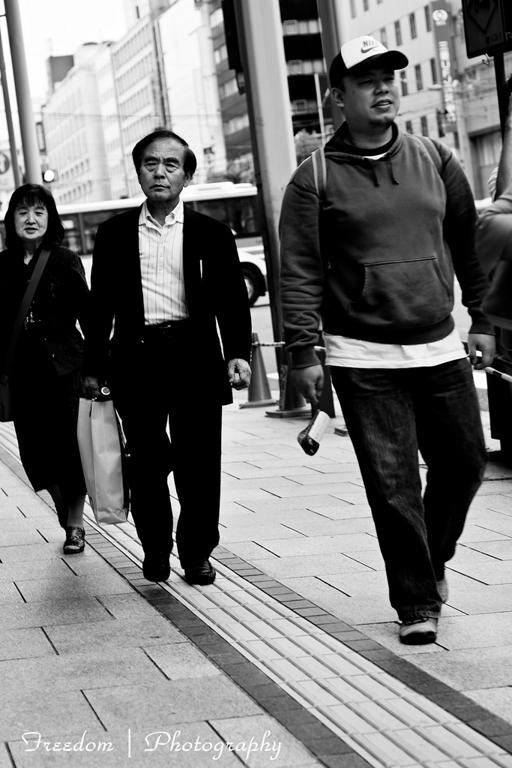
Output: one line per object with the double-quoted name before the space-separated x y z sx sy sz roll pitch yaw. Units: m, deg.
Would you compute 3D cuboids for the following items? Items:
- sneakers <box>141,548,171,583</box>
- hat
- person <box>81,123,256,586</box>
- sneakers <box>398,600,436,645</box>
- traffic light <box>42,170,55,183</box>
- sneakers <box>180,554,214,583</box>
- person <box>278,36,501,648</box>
"sneakers" -0.444 0.810 3.925 0.144 0.138 0.136 1 -4 -2
"hat" 0.371 -1.095 2.938 0.241 0.115 0.159 -25 -6 40
"person" -0.402 -0.114 3.924 0.767 1.848 0.324 -5 -1 -3
"sneakers" 0.539 0.804 2.941 0.138 0.132 0.113 -4 -1 7
"traffic light" -3.987 -4.026 16.986 0.289 0.264 0.067 5 0 28
"sneakers" -0.256 0.844 3.959 0.081 0.080 0.188 1 -4 -16
"person" 0.463 -0.159 2.984 0.738 1.997 0.445 -5 -1 -1
